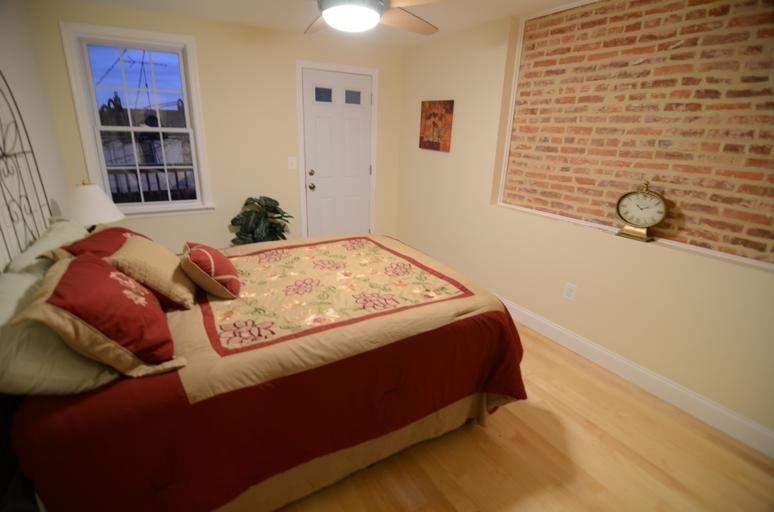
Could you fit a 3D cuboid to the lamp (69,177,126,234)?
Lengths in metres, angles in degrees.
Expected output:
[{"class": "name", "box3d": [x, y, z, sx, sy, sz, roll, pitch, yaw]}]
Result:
[{"class": "lamp", "box3d": [-2.344, -0.412, 3.781, 0.376, 0.395, 0.402, -15, 21, -35]}]

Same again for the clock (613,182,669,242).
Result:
[{"class": "clock", "box3d": [1.982, -0.344, 3.713, 0.331, 0.445, 0.153, 12, 1, 36]}]
